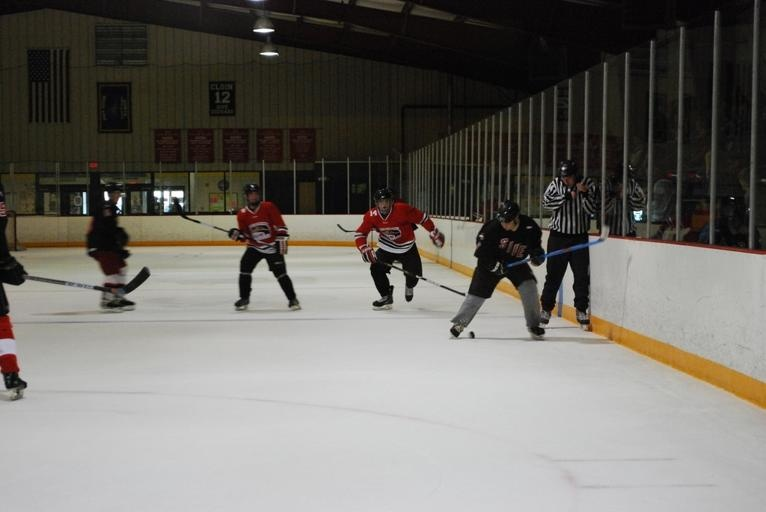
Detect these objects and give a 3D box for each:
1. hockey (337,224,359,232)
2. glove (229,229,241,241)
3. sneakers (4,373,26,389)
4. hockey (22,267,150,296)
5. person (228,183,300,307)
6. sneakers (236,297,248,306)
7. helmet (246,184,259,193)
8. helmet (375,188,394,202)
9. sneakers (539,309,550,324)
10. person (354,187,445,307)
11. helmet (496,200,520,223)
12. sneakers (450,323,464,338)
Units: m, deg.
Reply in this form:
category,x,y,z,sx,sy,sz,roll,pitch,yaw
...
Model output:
category,x,y,z,sx,sy,sz,roll,pitch,yaw
hockey,-1.003,-0.695,19.483,0.487,0.127,0.485,-1,-23,-1
glove,-1.984,-0.284,9.411,0.142,0.068,0.192,7,6,-42
sneakers,-2.891,0.981,5.555,0.144,0.167,0.157,-5,9,-31
hockey,-4.506,0.404,10.756,2.576,0.421,0.229,4,30,16
person,-1.593,-0.137,9.552,0.933,1.646,0.902,-1,8,-9
sneakers,-1.862,0.615,9.358,0.167,0.121,0.154,-2,8,-12
helmet,-1.710,-0.874,9.246,0.153,0.143,0.117,-13,4,11
helmet,0.031,-0.853,9.612,0.237,0.257,0.265,-4,-7,-11
sneakers,1.848,0.706,8.124,0.111,0.153,0.152,-1,0,-18
person,0.096,-0.110,9.791,1.051,1.603,0.881,-3,8,-20
helmet,1.291,-0.458,7.275,0.206,0.233,0.249,4,7,13
sneakers,0.796,0.801,7.582,0.078,0.116,0.152,-46,0,-2
